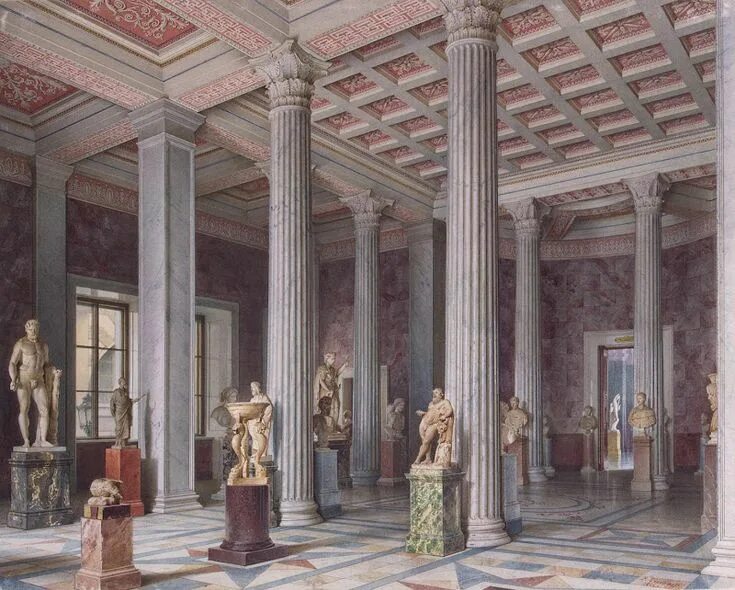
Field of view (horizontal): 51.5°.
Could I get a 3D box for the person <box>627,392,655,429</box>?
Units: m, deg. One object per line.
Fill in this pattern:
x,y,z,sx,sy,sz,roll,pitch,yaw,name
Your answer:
5.984,2.503,16.508,0.480,0.814,0.588,-13,-17,43,person

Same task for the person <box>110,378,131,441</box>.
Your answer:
-4.351,2.044,13.407,0.337,1.232,1.052,3,-13,-18,person

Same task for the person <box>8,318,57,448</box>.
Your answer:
-5.562,1.487,12.667,0.725,2.077,0.819,-1,-12,-1,person

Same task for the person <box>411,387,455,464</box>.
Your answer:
0.885,1.730,10.144,0.537,1.007,0.975,-2,-12,4,person
